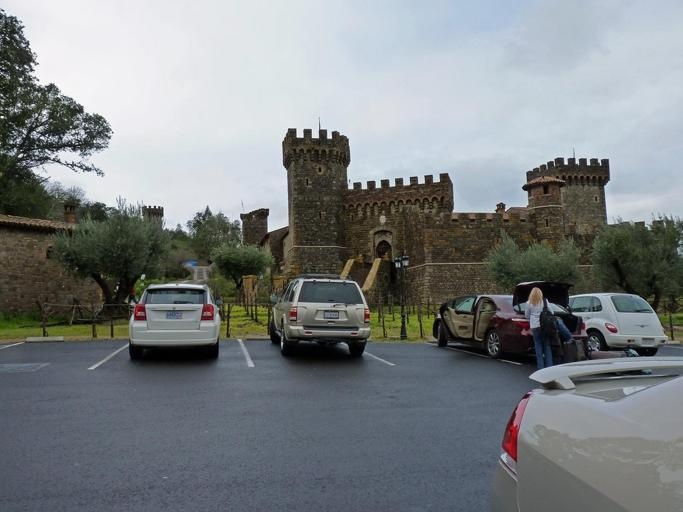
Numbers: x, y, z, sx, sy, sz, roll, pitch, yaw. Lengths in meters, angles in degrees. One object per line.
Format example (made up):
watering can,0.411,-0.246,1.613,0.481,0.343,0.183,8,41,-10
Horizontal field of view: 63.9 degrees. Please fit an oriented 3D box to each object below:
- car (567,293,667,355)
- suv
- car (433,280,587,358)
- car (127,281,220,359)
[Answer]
car,6.918,1.653,14.074,1.486,1.351,2.801,1,0,-6
suv,-0.597,1.360,13.701,1.373,1.348,2.754,2,1,-10
car,4.054,1.678,13.718,1.877,1.242,3.006,2,0,-15
car,-3.603,1.319,11.723,1.113,1.059,2.192,0,2,-8
